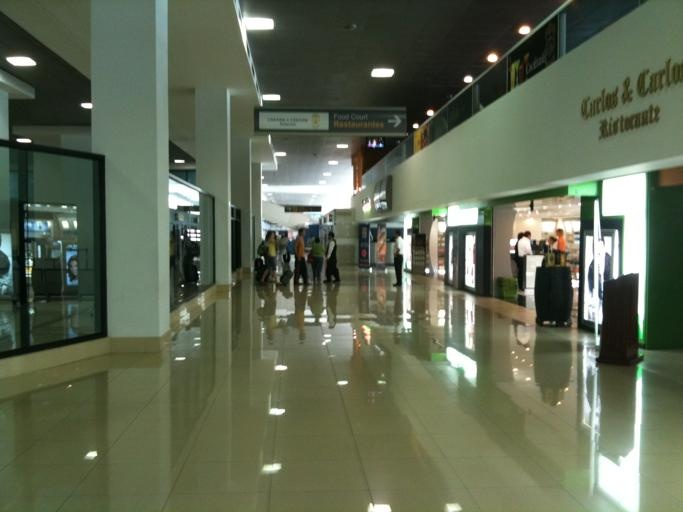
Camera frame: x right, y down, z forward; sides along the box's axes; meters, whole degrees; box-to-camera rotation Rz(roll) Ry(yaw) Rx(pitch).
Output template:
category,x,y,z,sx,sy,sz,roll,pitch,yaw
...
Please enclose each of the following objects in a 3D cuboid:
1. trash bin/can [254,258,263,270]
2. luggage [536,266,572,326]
category,x,y,z,sx,sy,sz,roll,pitch,yaw
trash bin/can,-2.603,0.259,18.356,0.318,0.381,0.642,-1,11,-5
luggage,3.725,0.708,10.284,0.607,1.096,0.352,3,7,18
